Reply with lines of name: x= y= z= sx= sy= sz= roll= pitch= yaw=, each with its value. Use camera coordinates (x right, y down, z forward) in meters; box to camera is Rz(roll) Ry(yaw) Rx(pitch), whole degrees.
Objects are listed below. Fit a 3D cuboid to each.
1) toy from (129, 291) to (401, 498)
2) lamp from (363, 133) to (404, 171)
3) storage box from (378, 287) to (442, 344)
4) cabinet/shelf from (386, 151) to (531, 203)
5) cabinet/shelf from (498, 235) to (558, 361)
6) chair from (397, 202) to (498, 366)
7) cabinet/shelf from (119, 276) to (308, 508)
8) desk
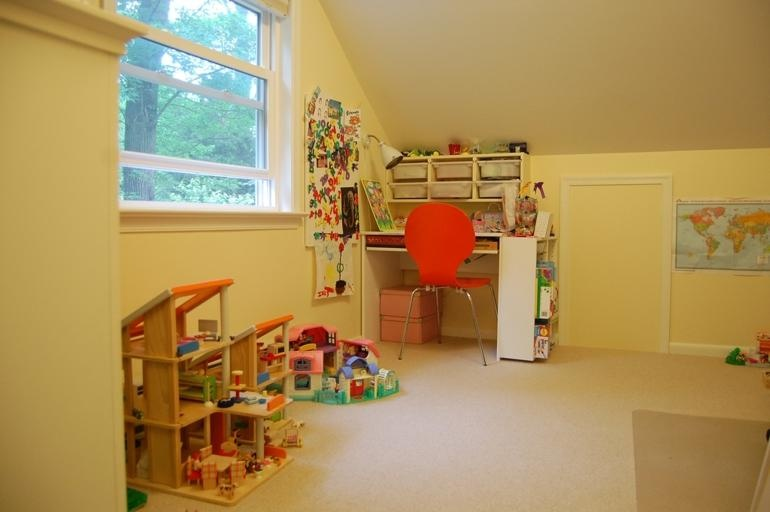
toy: x=-0.680 y=0.607 z=2.560 sx=0.746 sy=0.658 sz=1.072 roll=1 pitch=4 yaw=19
lamp: x=0.022 y=-0.830 z=4.458 sx=0.299 sy=0.278 sz=0.380 roll=3 pitch=8 yaw=19
storage box: x=0.200 y=0.464 z=4.633 sx=0.414 sy=0.409 sz=0.416 roll=1 pitch=1 yaw=27
cabinet/shelf: x=0.529 y=-0.620 z=4.458 sx=1.089 sy=0.363 sz=0.124 roll=3 pitch=9 yaw=24
cabinet/shelf: x=0.979 y=0.304 z=3.952 sx=0.292 sy=0.774 sz=0.834 roll=1 pitch=4 yaw=22
chair: x=0.447 y=0.162 z=4.138 sx=0.735 sy=1.122 sz=0.728 roll=1 pitch=8 yaw=10
cabinet/shelf: x=-0.782 y=0.514 z=2.725 sx=0.849 sy=1.044 sz=0.776 roll=1 pitch=4 yaw=20
desk: x=0.321 y=0.229 z=4.420 sx=0.850 sy=0.844 sz=0.622 roll=2 pitch=4 yaw=24
